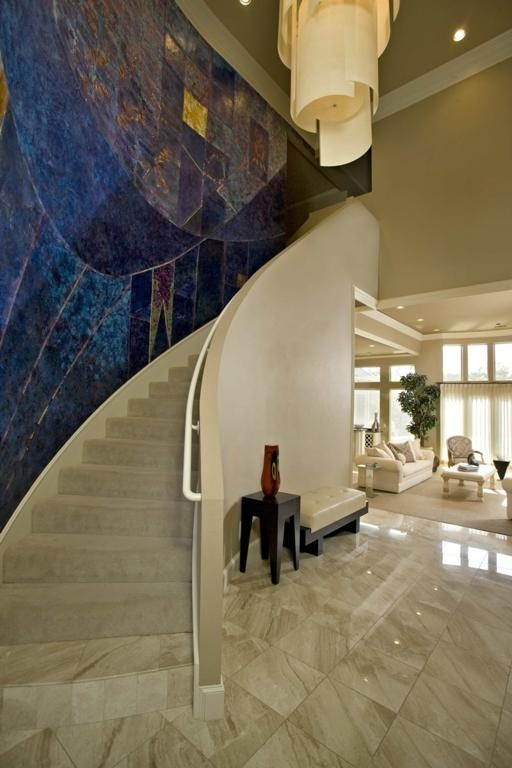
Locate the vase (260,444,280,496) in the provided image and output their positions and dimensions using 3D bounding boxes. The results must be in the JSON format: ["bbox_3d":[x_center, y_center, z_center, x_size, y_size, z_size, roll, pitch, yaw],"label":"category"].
[{"bbox_3d":[0.107,0.694,3.901,0.130,0.276,0.151,2,1,-1],"label":"vase"}]

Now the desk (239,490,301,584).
[{"bbox_3d":[0.103,1.204,4.017,0.493,0.472,0.771,3,1,12],"label":"desk"}]
